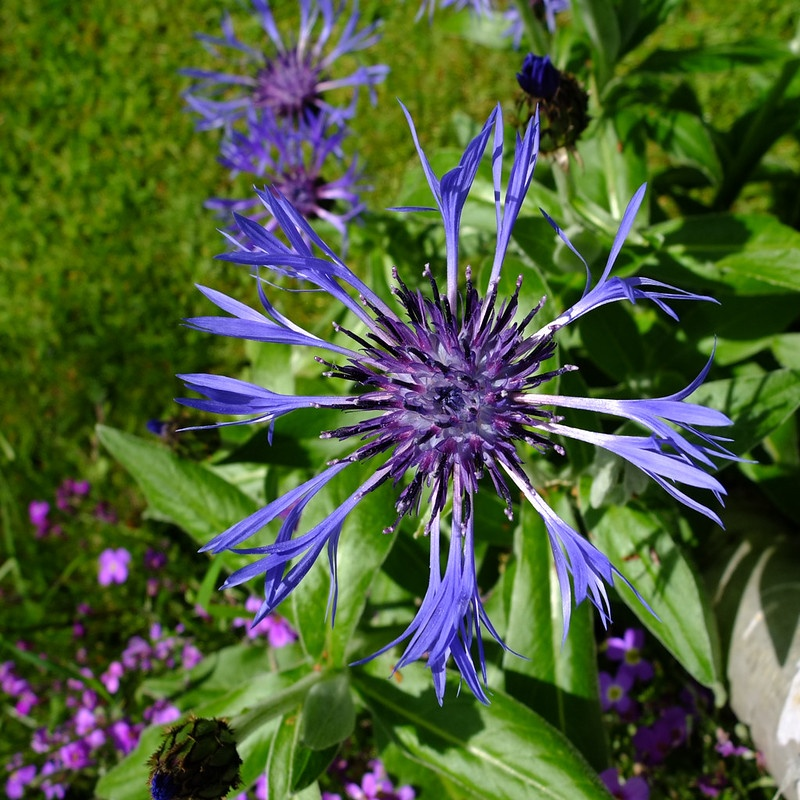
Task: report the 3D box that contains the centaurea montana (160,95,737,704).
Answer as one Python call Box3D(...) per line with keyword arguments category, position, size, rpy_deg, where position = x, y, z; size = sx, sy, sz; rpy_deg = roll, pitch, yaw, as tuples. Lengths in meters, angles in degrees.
Box3D(category="centaurea montana", position=(0.132, -0.036, 2.072), size=(1.322, 0.531, 1.208), rpy_deg=(-7, 17, -19))
